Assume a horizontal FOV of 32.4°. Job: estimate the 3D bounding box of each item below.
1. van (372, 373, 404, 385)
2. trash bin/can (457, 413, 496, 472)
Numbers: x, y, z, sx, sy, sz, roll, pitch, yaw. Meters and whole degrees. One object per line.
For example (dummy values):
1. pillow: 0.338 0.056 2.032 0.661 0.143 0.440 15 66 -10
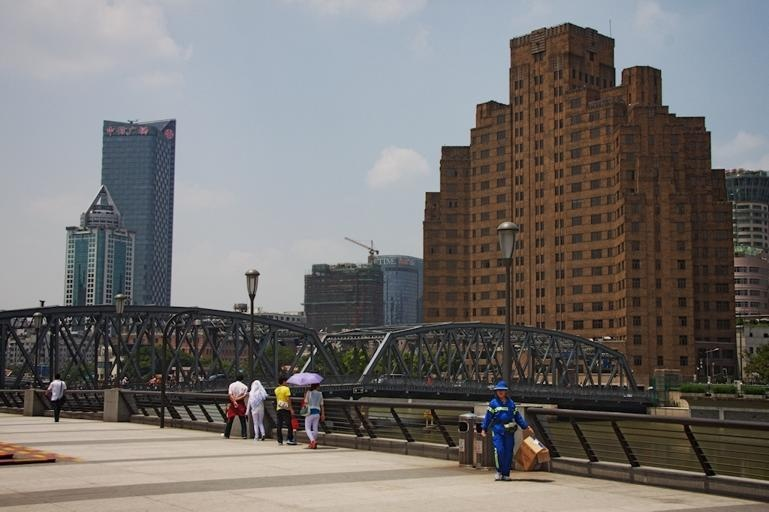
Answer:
1. van: 0.803 14.467 154.218 2.908 1.425 7.008 -4 -9 15
2. trash bin/can: 6.973 13.889 99.049 2.502 3.936 2.225 -2 0 5
